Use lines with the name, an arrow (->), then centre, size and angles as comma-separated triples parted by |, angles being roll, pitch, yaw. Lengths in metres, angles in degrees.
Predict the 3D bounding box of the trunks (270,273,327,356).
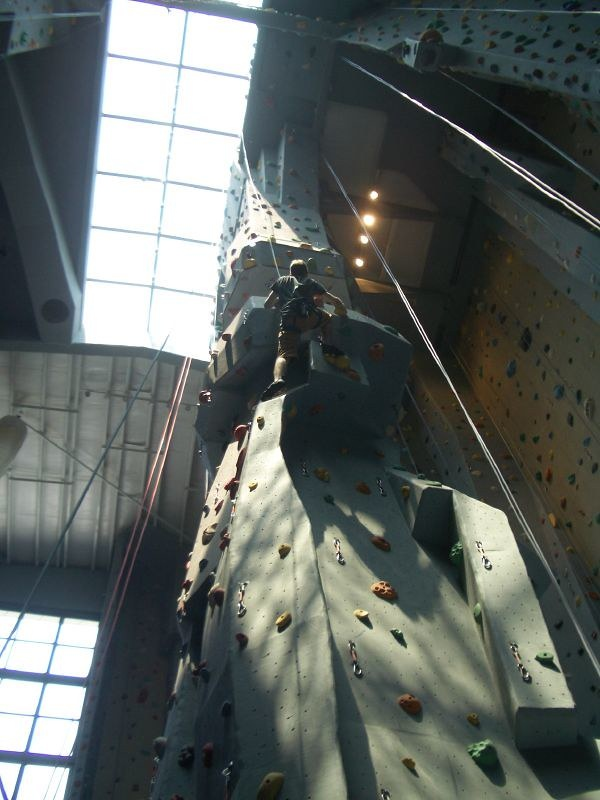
trunks -> -0.007, -0.844, 6.089 | 0.641, 1.321, 0.521 | -3, -50, 4

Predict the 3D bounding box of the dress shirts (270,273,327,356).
dress shirts -> 0.037, -0.814, 6.150 | 0.537, 0.445, 1.153 | -6, -90, -1
